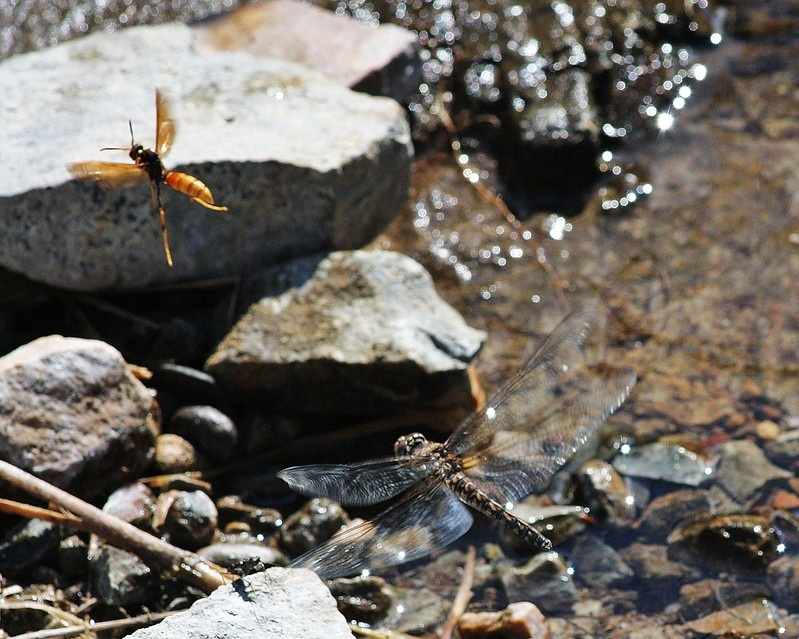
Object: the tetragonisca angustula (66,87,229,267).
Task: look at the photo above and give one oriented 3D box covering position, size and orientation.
[{"bbox_3d":[-1.332,-0.841,6.426,0.624,1.113,0.555,4,22,14],"label":"tetragonisca angustula"}]
